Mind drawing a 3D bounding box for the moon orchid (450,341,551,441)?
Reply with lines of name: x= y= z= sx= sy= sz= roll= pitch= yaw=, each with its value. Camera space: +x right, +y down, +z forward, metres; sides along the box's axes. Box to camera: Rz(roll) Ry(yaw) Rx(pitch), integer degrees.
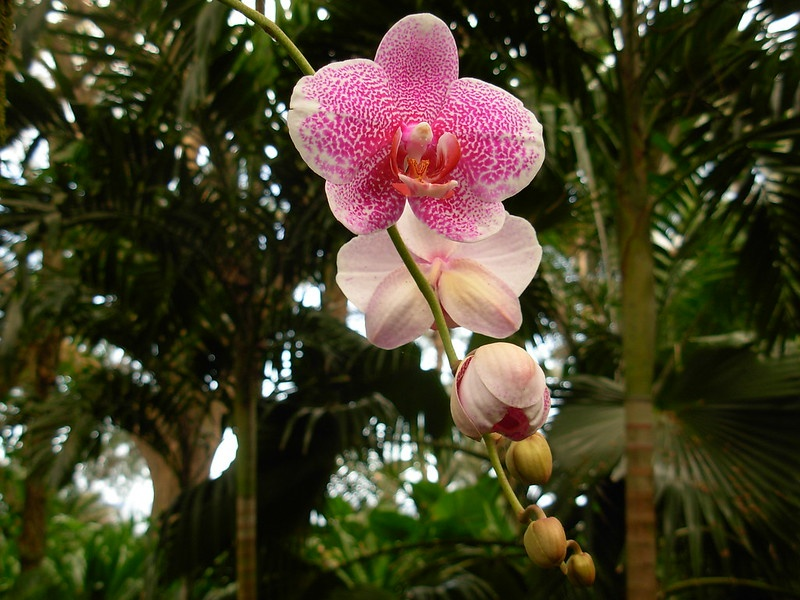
moon orchid: x=0.245 y=0.226 z=1.862 sx=0.222 sy=0.286 sz=0.240 roll=5 pitch=-62 yaw=-1
